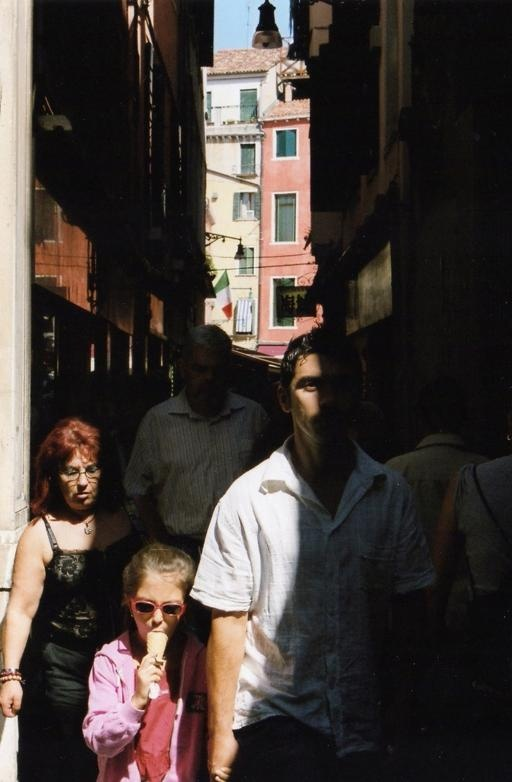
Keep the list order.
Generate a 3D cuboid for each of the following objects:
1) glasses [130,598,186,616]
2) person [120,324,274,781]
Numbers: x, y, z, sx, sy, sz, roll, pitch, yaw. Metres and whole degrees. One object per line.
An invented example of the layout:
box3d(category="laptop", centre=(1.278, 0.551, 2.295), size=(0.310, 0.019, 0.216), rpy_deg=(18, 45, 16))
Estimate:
box3d(category="glasses", centre=(-0.335, 0.744, 3.887), size=(0.172, 0.053, 0.039), rpy_deg=(1, 1, -4))
box3d(category="person", centre=(-0.241, 0.645, 4.768), size=(0.559, 1.994, 0.508), rpy_deg=(-6, 22, -21))
